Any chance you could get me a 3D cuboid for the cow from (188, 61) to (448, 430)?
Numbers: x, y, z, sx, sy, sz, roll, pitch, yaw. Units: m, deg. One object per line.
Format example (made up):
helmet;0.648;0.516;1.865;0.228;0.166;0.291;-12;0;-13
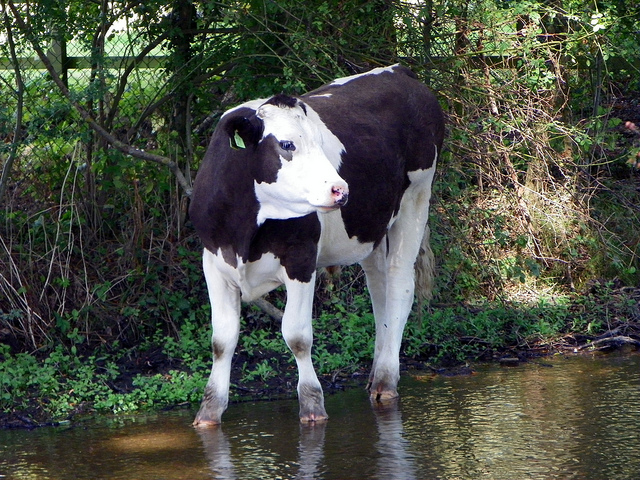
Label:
cow;0.013;0.006;6.909;1.220;2.735;2.400;7;14;36
